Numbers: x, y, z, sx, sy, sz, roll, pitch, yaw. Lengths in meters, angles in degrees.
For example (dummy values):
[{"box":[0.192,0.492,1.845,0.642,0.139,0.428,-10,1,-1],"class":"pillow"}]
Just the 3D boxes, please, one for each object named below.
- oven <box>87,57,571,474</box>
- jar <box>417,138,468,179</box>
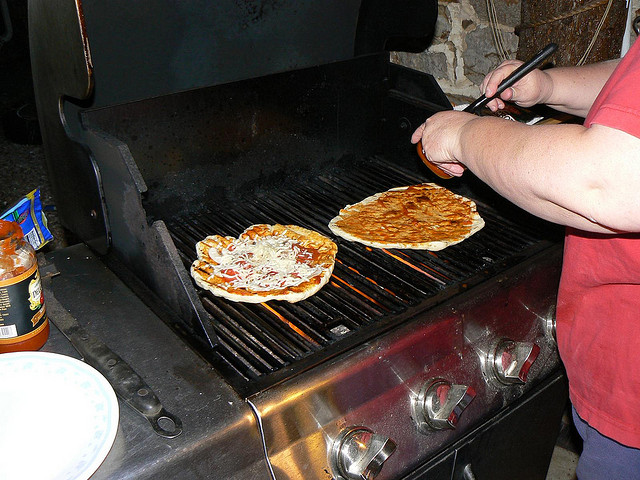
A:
[{"box":[-0.057,0.049,1.390,1.167,0.522,1.130,-20,42,-28],"class":"oven"},{"box":[0.283,-0.217,1.239,0.125,0.098,0.116,-1,23,0],"class":"jar"}]
